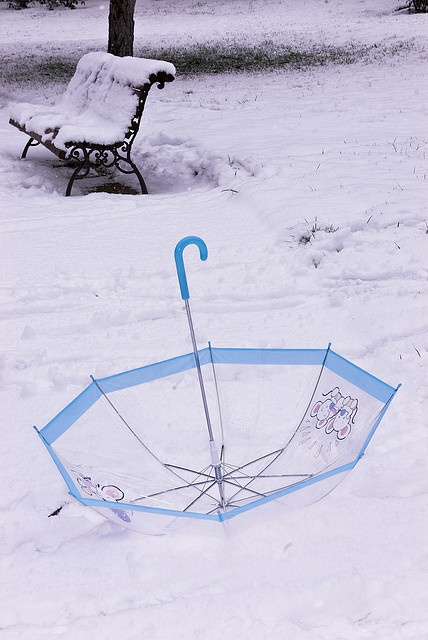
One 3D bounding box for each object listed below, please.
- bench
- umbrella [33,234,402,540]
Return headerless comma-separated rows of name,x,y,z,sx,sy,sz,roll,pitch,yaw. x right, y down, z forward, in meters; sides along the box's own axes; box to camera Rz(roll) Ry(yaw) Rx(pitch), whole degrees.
bench,-1.231,-1.920,6.180,1.067,1.074,2.115,-12,29,-22
umbrella,-0.033,0.156,2.336,0.994,0.763,0.974,-11,16,-3
